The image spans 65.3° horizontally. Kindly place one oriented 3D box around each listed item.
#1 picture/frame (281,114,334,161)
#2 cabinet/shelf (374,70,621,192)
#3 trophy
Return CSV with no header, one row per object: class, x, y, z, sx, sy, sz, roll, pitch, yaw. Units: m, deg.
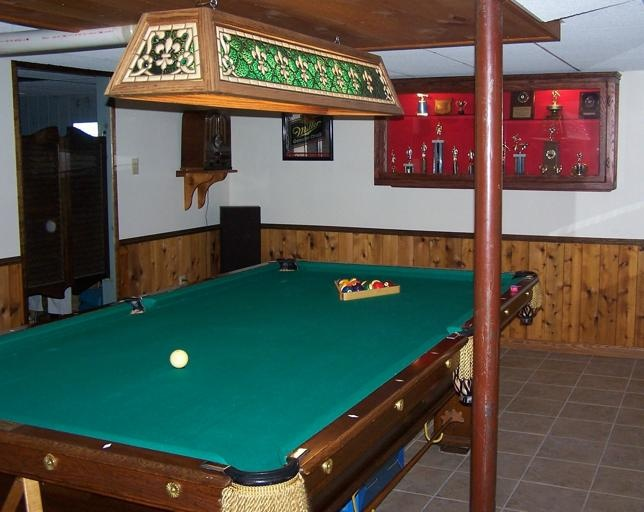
picture/frame,-0.172,-1.501,6.365,0.727,0.584,0.049,7,14,21
cabinet/shelf,1.832,-1.310,5.423,2.332,1.239,0.400,3,-1,14
trophy,1.683,-1.195,4.769,1.501,0.794,0.250,1,1,19
